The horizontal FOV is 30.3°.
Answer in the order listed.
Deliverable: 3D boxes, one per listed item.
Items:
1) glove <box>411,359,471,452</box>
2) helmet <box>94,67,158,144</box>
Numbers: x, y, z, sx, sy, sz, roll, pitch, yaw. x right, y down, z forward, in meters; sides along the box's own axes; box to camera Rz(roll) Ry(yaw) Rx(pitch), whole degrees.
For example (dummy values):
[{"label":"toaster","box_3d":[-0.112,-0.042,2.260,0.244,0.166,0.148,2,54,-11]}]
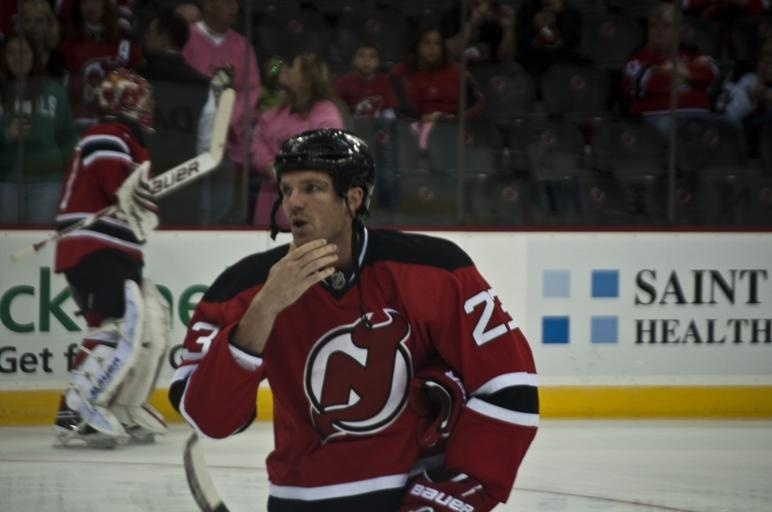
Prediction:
[{"label":"glove","box_3d":[0.325,0.962,9.004,0.380,0.488,0.241,7,-1,30]},{"label":"helmet","box_3d":[-1.921,-1.177,10.953,0.501,0.376,0.497,37,-5,-1]}]
